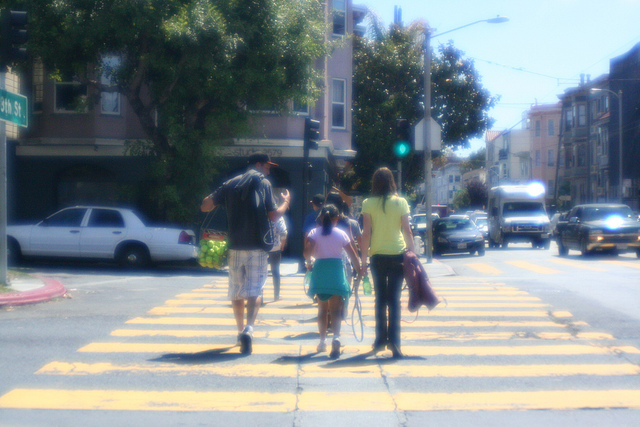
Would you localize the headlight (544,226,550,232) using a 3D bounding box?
[{"bbox_3d":[10.555,0.694,39.388,0.228,0.222,0.122,-3,-23,-4],"label":"headlight"}]

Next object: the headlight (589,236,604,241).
[{"bbox_3d":[9.825,0.866,30.066,0.492,0.184,0.068,4,10,25],"label":"headlight"}]

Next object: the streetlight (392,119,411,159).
[{"bbox_3d":[2.444,-2.192,25.033,0.434,1.155,0.644,1,9,6],"label":"streetlight"}]

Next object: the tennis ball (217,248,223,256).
[{"bbox_3d":[-2.377,0.911,20.412,0.142,0.145,0.142,0,6,0],"label":"tennis ball"}]

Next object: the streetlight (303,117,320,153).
[{"bbox_3d":[-0.179,-2.290,24.510,0.470,0.931,0.316,10,11,30],"label":"streetlight"}]
